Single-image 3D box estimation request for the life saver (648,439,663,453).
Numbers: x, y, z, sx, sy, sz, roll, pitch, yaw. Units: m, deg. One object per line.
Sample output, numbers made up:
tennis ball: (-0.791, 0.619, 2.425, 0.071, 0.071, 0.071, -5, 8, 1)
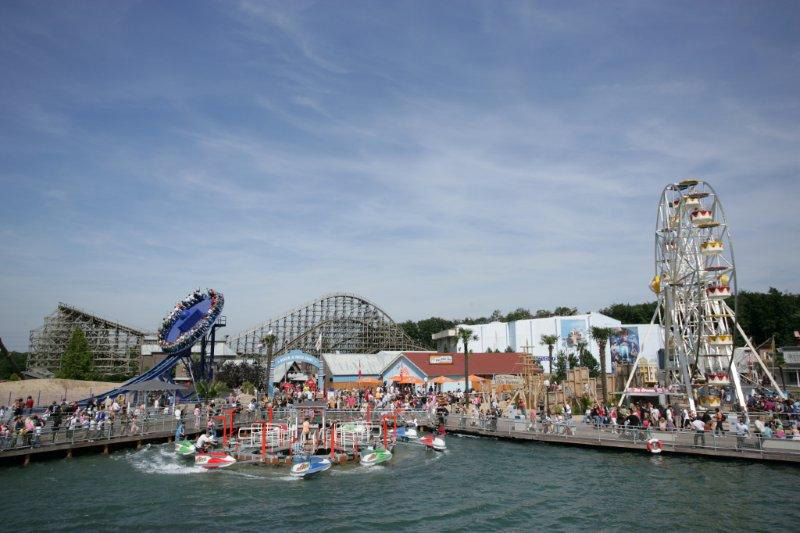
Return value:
life saver: (17.876, 12.502, 34.086, 1.033, 1.078, 0.337, -2, -4, 26)
